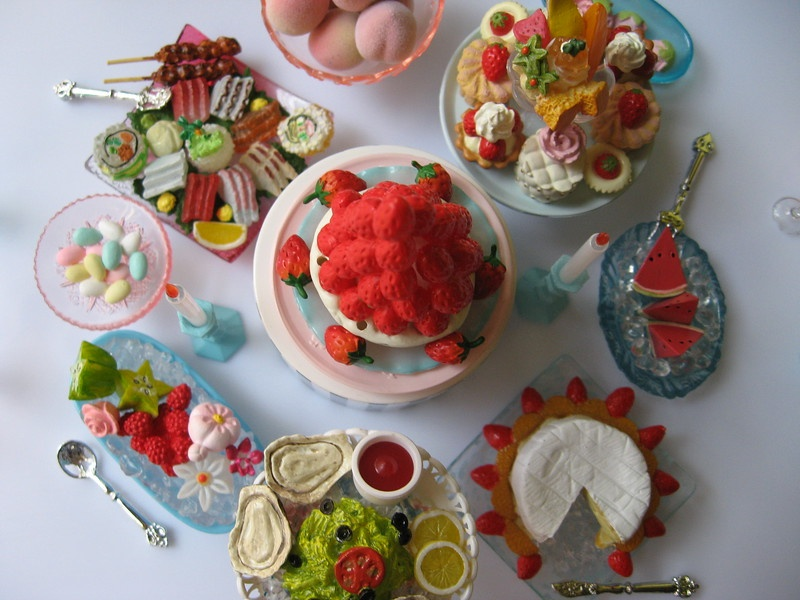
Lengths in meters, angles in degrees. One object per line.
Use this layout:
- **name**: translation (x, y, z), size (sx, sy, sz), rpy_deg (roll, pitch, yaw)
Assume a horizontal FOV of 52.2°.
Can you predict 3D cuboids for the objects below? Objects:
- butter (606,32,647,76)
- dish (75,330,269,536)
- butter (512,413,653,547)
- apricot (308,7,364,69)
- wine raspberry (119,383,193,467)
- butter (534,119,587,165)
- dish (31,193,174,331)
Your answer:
- **butter**: translation (0.725, -0.769, 2.612), size (0.099, 0.041, 0.123), rpy_deg (-5, -74, -2)
- **dish**: translation (-0.756, 0.412, 2.782), size (0.405, 0.233, 0.807), rpy_deg (-40, -90, -2)
- **butter**: translation (0.577, 0.538, 2.585), size (0.429, 0.216, 0.293), rpy_deg (1, -64, -6)
- **apricot**: translation (-0.211, -0.822, 2.681), size (0.191, 0.149, 0.165), rpy_deg (0, -76, -41)
- **wine raspberry**: translation (-0.777, 0.391, 2.615), size (0.232, 0.088, 0.249), rpy_deg (-31, -96, -12)
- **butter**: translation (0.523, -0.485, 2.576), size (0.113, 0.047, 0.122), rpy_deg (-14, -98, 1)
- **dish**: translation (-1.004, -0.128, 2.636), size (0.405, 0.124, 0.494), rpy_deg (0, -92, 0)
